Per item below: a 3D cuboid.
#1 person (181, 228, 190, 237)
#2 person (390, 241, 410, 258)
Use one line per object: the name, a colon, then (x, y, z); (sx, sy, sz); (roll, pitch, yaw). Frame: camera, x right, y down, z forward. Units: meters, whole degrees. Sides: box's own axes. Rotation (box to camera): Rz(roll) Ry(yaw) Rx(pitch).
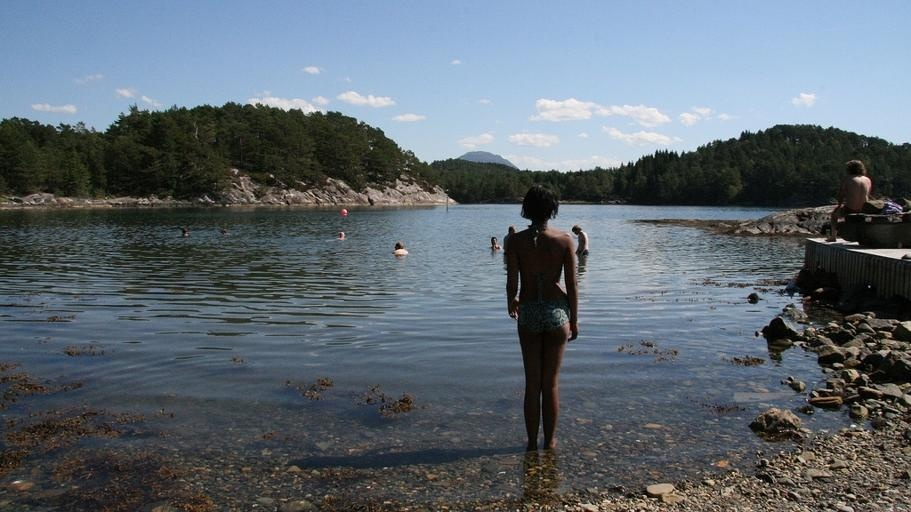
person: (-24.002, -2.043, 57.891); (1.138, 0.501, 0.794); (3, 3, -16)
person: (-3.687, -0.329, 43.573); (1.118, 0.478, 1.257); (0, 14, -3)
